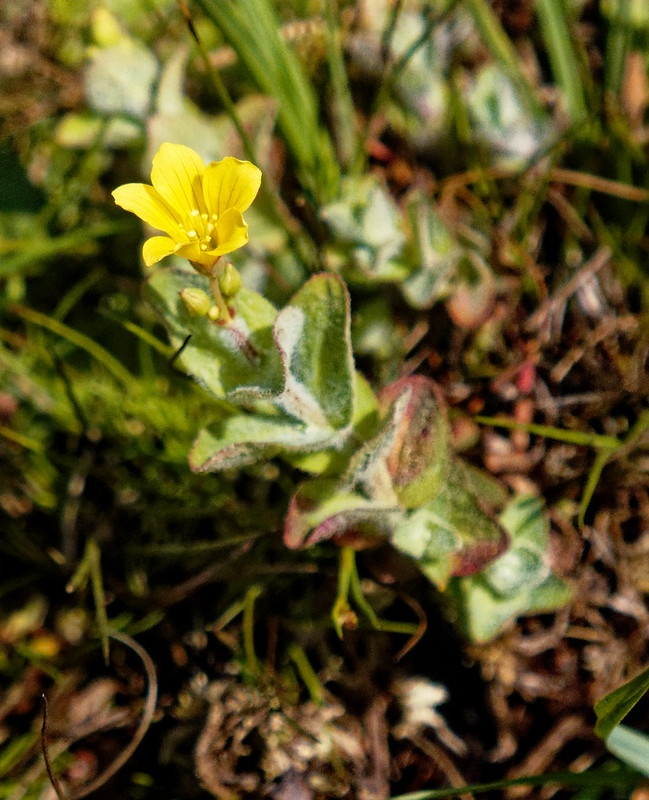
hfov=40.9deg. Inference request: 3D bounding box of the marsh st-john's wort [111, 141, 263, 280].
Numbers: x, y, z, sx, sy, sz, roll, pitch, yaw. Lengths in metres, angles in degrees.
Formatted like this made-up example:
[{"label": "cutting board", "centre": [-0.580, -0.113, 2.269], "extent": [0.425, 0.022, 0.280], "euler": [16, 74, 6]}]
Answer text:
[{"label": "marsh st-john's wort", "centre": [-0.209, -0.288, 1.353], "extent": [0.210, 0.210, 0.108], "euler": [20, 37, -28]}]
